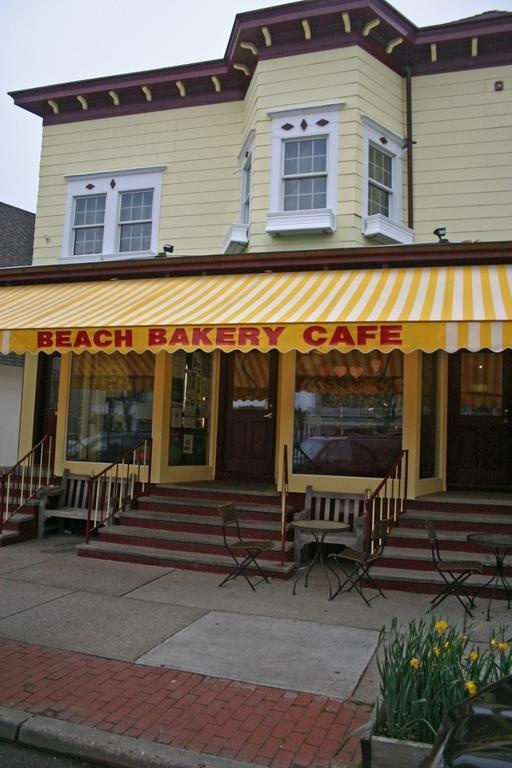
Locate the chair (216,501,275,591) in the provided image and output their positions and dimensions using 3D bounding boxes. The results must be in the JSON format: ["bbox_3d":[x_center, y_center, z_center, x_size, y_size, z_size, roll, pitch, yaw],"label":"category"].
[{"bbox_3d":[-0.111,2.024,8.446,0.679,0.958,0.576,2,-1,12],"label":"chair"}]

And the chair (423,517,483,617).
[{"bbox_3d":[2.195,2.039,7.537,0.678,0.927,0.575,2,-6,16],"label":"chair"}]
